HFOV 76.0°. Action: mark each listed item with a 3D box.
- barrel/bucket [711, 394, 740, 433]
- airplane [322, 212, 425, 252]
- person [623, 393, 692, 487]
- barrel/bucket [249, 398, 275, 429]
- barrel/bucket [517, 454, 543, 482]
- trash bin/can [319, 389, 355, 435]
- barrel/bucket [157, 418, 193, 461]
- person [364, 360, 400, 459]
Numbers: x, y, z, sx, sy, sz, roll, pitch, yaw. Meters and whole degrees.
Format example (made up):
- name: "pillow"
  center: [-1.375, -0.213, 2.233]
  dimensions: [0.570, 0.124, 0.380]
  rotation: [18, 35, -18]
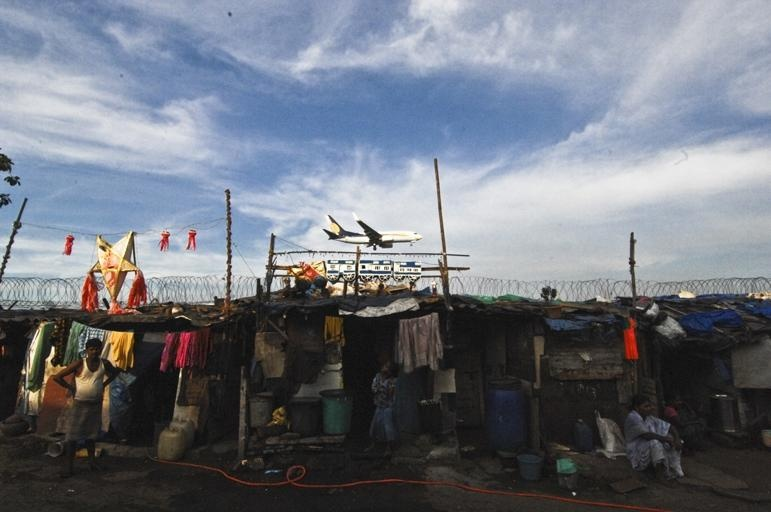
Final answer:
- name: "barrel/bucket"
  center: [9.143, 4.264, 13.245]
  dimensions: [0.973, 1.105, 0.392]
  rotation: [2, -9, -6]
- name: "airplane"
  center: [-0.650, -0.999, 21.968]
  dimensions: [3.846, 1.794, 9.773]
  rotation: [-1, 7, -6]
- name: "person"
  center: [6.084, 4.098, 11.187]
  dimensions: [1.232, 1.636, 0.798]
  rotation: [6, 10, 38]
- name: "barrel/bucket"
  center: [-3.147, 3.904, 12.356]
  dimensions: [0.763, 0.728, 0.708]
  rotation: [-1, -19, 0]
- name: "barrel/bucket"
  center: [3.245, 4.734, 11.044]
  dimensions: [0.555, 0.355, 0.518]
  rotation: [2, -21, 1]
- name: "trash bin/can"
  center: [-1.245, 3.957, 12.427]
  dimensions: [0.740, 1.021, 0.616]
  rotation: [-1, 8, -7]
- name: "barrel/bucket"
  center: [-5.248, 4.559, 12.246]
  dimensions: [0.594, 0.750, 0.753]
  rotation: [1, 7, 10]
- name: "person"
  center: [-0.080, 3.730, 12.173]
  dimensions: [0.685, 2.029, 1.072]
  rotation: [0, 8, 0]
